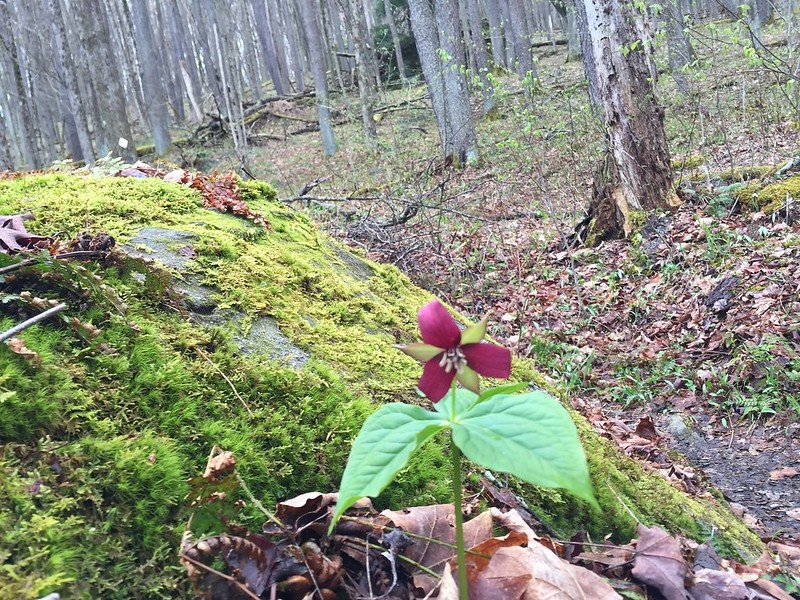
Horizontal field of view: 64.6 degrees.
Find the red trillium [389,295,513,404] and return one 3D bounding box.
[{"bbox_3d":[0.213,0.207,2.585,0.409,0.179,0.585,-27,29,0],"label":"red trillium"}]
